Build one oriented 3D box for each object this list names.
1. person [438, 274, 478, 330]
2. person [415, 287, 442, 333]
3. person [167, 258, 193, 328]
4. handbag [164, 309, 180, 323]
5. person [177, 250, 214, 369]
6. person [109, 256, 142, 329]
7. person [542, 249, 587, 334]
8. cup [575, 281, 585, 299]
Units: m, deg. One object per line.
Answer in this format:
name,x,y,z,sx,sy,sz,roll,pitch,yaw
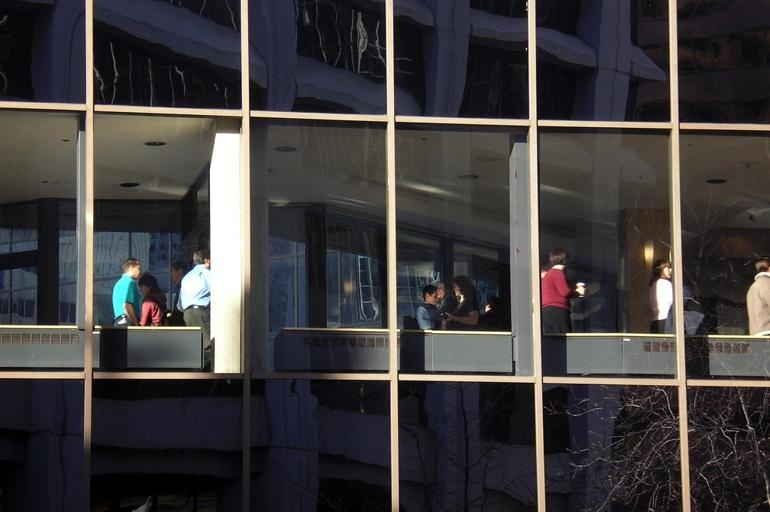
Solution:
person,1.265,0.759,23.294,0.591,0.919,0.235,-1,-9,4
person,0.711,0.854,23.189,0.415,0.765,0.176,3,-9,-21
person,-3.450,0.663,23.399,0.327,0.364,1.100,-1,34,-2
handbag,-3.539,1.006,23.158,0.203,0.193,0.048,9,-22,5
person,-3.128,0.864,23.131,0.474,2.040,0.718,4,-10,-27
person,-4.312,0.591,23.190,0.481,1.166,0.566,1,-9,-10
person,2.923,0.577,23.307,0.620,1.444,0.221,3,-9,-23
cup,3.328,0.566,23.552,0.269,0.277,0.174,4,-8,-4
